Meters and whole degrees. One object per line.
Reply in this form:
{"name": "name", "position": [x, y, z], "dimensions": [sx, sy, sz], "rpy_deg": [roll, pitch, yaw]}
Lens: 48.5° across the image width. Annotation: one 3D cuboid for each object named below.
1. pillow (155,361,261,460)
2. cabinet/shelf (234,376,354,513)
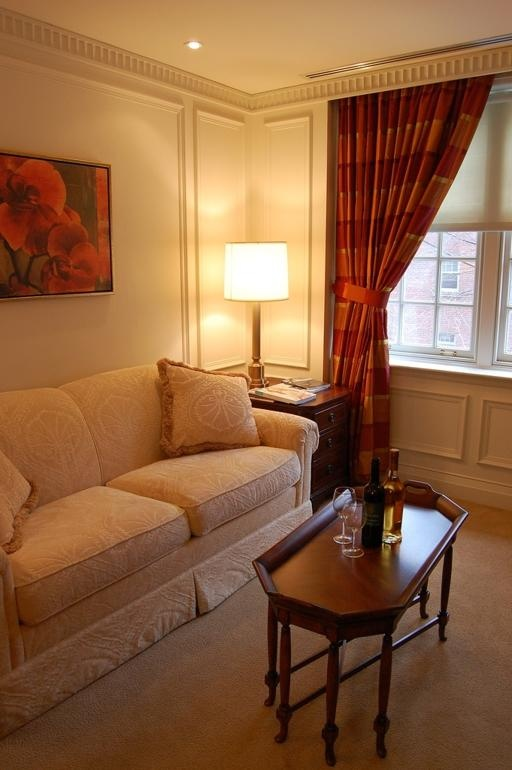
{"name": "pillow", "position": [-0.227, 0.054, 2.744], "dimensions": [0.473, 0.485, 0.148], "rpy_deg": [-1, -19, -33]}
{"name": "cabinet/shelf", "position": [0.253, 0.308, 3.747], "dimensions": [0.693, 0.915, 0.589], "rpy_deg": [7, 15, 33]}
